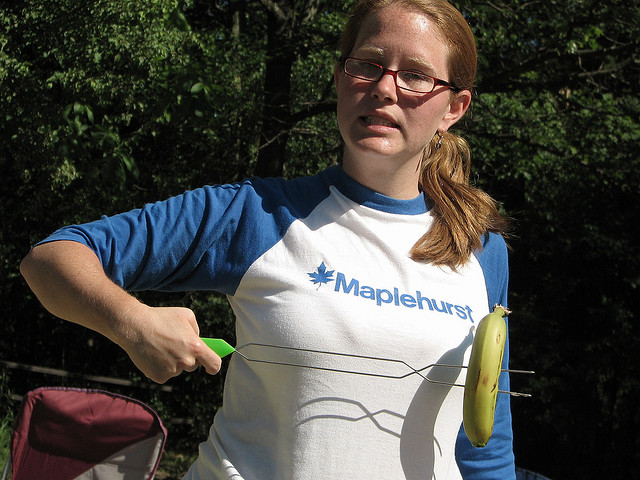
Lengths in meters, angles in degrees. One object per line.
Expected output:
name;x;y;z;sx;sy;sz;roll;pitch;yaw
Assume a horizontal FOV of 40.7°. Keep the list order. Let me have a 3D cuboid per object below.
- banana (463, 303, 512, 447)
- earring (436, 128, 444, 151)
banana;0.829;0.706;4.408;0.150;0.821;0.199;11;-6;-27
earring;0.691;-0.558;4.949;0.081;0.101;0.034;1;-2;-42
